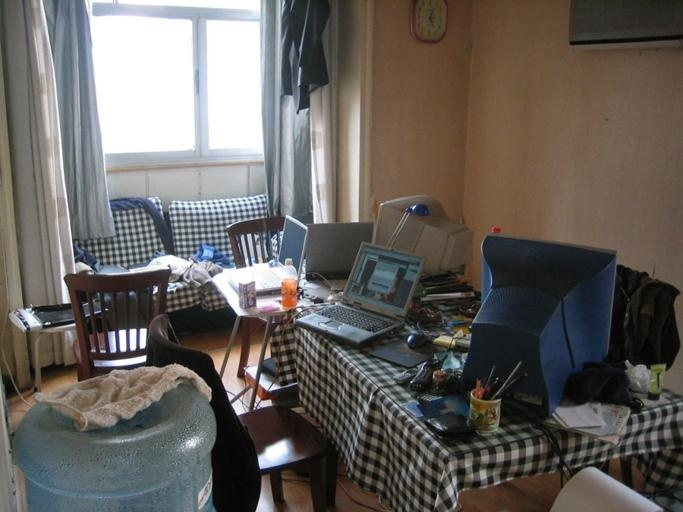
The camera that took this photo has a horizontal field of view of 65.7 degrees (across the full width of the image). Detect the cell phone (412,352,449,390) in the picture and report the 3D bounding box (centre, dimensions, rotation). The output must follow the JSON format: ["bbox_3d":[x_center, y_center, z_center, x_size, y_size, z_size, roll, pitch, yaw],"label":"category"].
[{"bbox_3d":[0.343,0.463,2.092,0.066,0.090,0.231,7,17,29],"label":"cell phone"}]

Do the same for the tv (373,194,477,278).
[{"bbox_3d":[0.485,-0.107,2.925,0.423,0.366,0.471,20,15,32],"label":"tv"}]

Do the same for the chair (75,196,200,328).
[{"bbox_3d":[-1.511,-0.059,4.238,0.920,0.947,0.739,-4,4,36],"label":"chair"}]

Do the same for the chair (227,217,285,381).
[{"bbox_3d":[-0.563,0.219,3.931,0.517,0.848,0.545,-2,50,-17],"label":"chair"}]

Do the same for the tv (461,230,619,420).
[{"bbox_3d":[0.705,0.239,1.977,0.488,0.534,0.369,12,32,41],"label":"tv"}]

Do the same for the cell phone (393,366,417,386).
[{"bbox_3d":[0.249,0.478,2.085,0.044,0.021,0.084,1,26,38],"label":"cell phone"}]

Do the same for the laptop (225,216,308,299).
[{"bbox_3d":[-0.563,0.202,3.768,0.450,0.616,0.818,5,-22,-7],"label":"laptop"}]

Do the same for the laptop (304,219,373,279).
[{"bbox_3d":[-0.030,-0.075,3.166,0.378,0.389,0.308,-1,15,-13],"label":"laptop"}]

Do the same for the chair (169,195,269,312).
[{"bbox_3d":[-0.999,0.030,4.362,0.985,0.877,0.997,-7,16,-5],"label":"chair"}]

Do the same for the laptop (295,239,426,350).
[{"bbox_3d":[0.087,0.166,2.505,0.470,0.343,0.520,10,15,36],"label":"laptop"}]

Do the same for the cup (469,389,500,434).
[{"bbox_3d":[0.493,0.531,1.824,0.105,0.124,0.108,-1,4,0],"label":"cup"}]

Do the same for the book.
[{"bbox_3d":[0.900,0.577,1.819,0.170,0.045,0.171,8,13,42],"label":"book"}]
